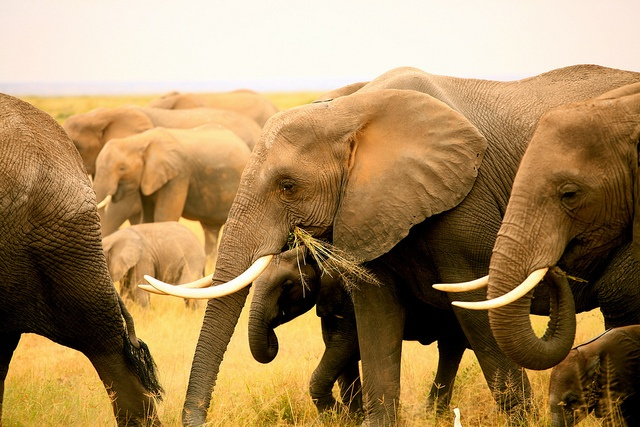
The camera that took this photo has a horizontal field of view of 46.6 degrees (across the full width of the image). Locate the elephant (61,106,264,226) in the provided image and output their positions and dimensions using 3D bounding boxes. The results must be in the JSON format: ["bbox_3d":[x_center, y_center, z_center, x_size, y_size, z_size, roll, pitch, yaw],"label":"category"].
[{"bbox_3d":[-3.086,-0.391,14.300,1.635,2.145,4.022,-2,-3,41],"label":"elephant"}]

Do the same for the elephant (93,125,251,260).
[{"bbox_3d":[-2.731,-0.248,13.164,3.256,2.178,1.508,4,-1,-37],"label":"elephant"}]

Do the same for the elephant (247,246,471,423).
[{"bbox_3d":[0.404,1.023,6.794,2.027,1.725,1.150,-2,2,-3],"label":"elephant"}]
